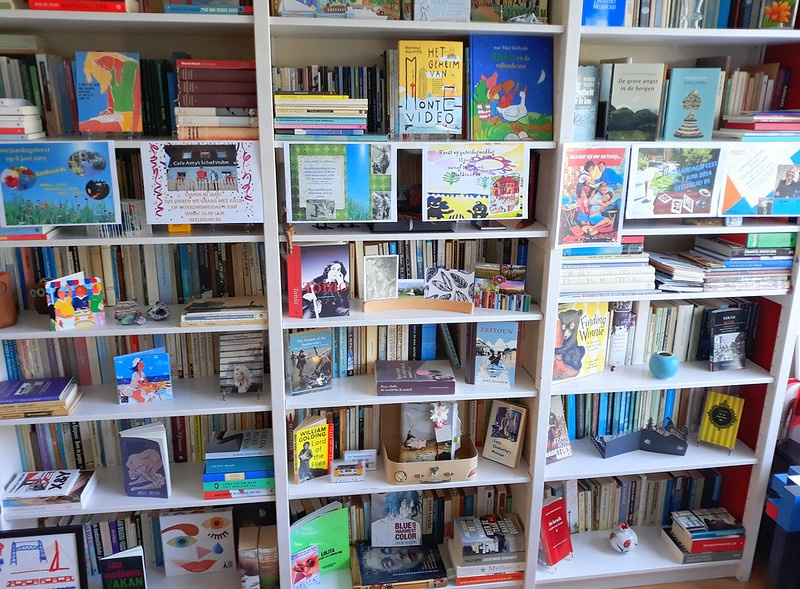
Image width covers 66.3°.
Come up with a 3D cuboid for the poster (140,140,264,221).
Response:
[{"bbox_3d":[-0.763,-0.447,2.341,0.318,0.216,0.033,-1,15,-2],"label":"poster"}]

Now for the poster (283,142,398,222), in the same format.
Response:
[{"bbox_3d":[-0.243,-0.451,2.400,0.331,0.226,0.045,-1,15,-4],"label":"poster"}]

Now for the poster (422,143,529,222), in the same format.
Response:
[{"bbox_3d":[0.305,-0.458,2.495,0.460,0.314,0.039,3,11,28],"label":"poster"}]

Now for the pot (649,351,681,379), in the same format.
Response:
[{"bbox_3d":[1.217,0.331,2.822,0.122,0.108,0.119,-1,20,0],"label":"pot"}]
